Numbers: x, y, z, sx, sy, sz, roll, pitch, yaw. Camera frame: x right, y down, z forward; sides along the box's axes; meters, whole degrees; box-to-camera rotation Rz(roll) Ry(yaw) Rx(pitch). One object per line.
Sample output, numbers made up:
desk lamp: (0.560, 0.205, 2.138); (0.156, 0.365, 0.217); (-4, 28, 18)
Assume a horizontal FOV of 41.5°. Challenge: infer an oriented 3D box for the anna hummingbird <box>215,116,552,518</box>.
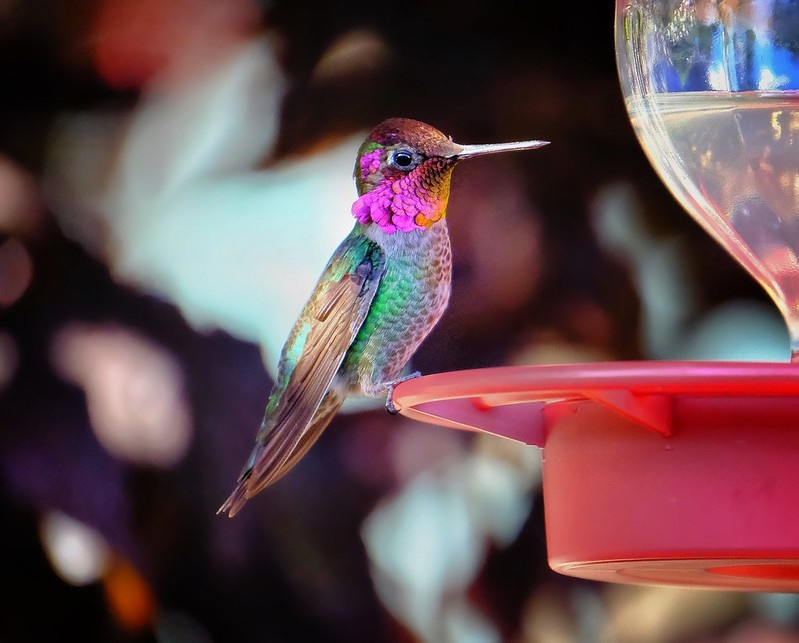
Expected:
anna hummingbird: (-0.038, 0.038, 1.053); (0.361, 0.403, 0.201); (-22, 36, -29)
